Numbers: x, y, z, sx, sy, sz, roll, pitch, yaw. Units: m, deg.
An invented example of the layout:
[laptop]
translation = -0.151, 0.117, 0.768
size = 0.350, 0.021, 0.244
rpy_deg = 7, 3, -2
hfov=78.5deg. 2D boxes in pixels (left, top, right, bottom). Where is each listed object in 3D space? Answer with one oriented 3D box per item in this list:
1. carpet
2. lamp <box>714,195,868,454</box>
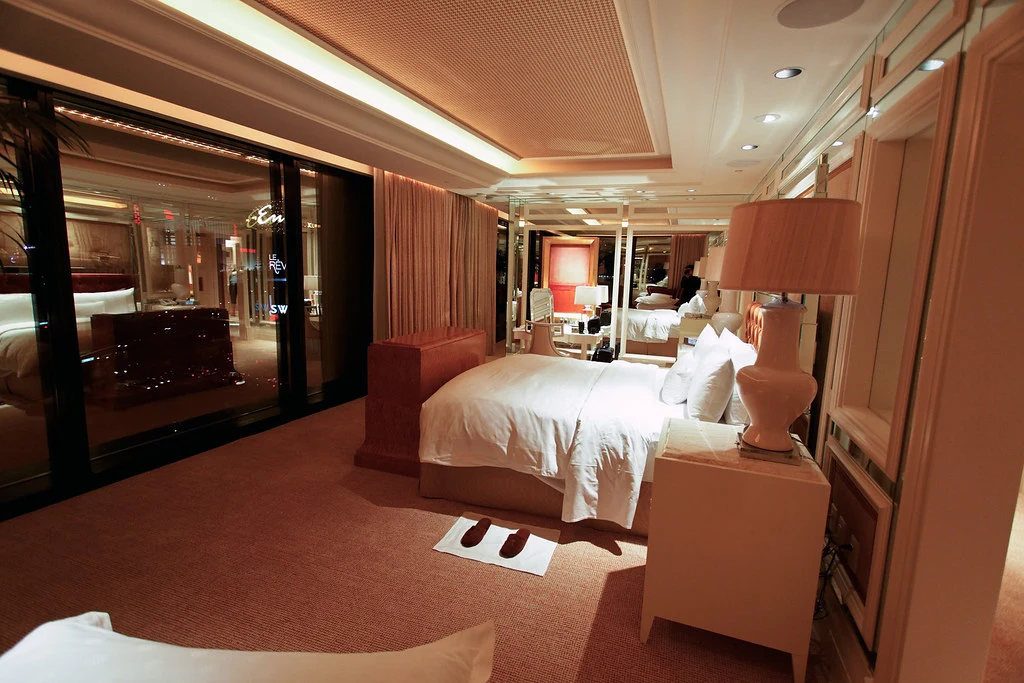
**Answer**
[carpet]
translation = -0.089, 1.303, 4.031
size = 0.741, 0.111, 0.414
rpy_deg = 6, 10, 17
[lamp]
translation = 1.358, -0.053, 3.149
size = 0.643, 1.302, 0.337
rpy_deg = 5, 10, 14
